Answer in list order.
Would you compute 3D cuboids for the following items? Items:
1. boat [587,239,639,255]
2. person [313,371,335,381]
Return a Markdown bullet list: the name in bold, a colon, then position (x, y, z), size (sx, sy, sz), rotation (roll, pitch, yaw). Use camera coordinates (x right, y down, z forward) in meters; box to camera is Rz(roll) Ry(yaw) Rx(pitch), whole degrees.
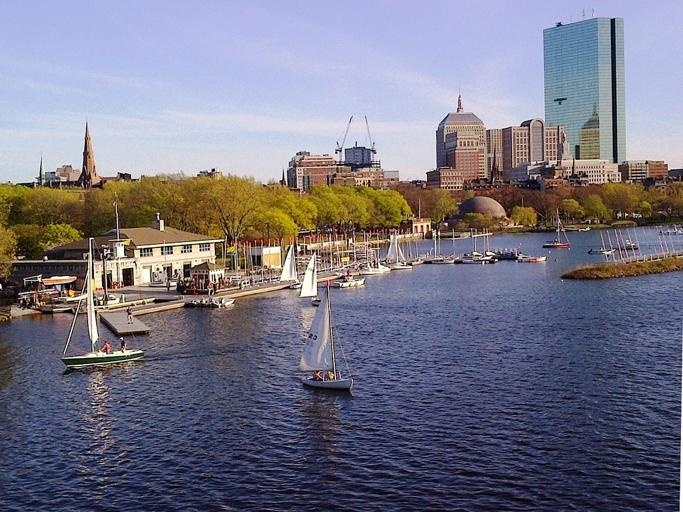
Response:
- **boat**: position (78.301, -2.503, 206.388), size (10.139, 2.856, 3.763), rotation (-7, 14, -3)
- **person**: position (-1.878, 12.410, 74.681), size (2.723, 1.245, 0.851), rotation (1, -2, 4)
